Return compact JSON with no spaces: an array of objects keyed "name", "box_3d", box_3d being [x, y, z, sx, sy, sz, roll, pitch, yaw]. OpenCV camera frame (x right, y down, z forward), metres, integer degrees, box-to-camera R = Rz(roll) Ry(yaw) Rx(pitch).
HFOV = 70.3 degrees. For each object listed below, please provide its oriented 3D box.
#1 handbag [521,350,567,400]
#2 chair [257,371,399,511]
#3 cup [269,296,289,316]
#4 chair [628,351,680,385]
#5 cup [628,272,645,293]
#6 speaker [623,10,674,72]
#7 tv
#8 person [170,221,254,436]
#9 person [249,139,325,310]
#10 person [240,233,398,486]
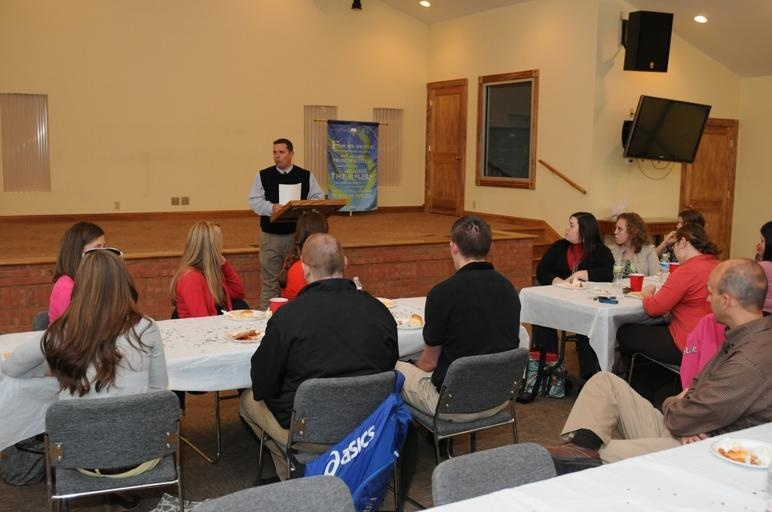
[{"name":"handbag","box_3d":[1.400,1.028,4.750,0.374,0.354,0.337,-11,-1,20]},{"name":"chair","box_3d":[-0.273,0.844,2.998,0.592,0.871,0.675,-3,16,-19]},{"name":"cup","box_3d":[-0.639,0.297,3.267,0.139,0.114,0.132,5,7,-1]},{"name":"chair","box_3d":[2.037,0.848,4.189,0.239,0.260,0.189,0,27,4]},{"name":"cup","box_3d":[2.087,0.220,4.655,0.134,0.154,0.139,1,-5,0]},{"name":"speaker","box_3d":[3.921,-3.212,8.202,0.609,0.865,0.200,2,9,15]},{"name":"tv","box_3d":[4.485,-1.992,8.763,1.334,0.983,0.117,1,25,-16]},{"name":"person","box_3d":[-1.338,0.383,4.083,0.535,1.225,0.520,-7,19,-29]},{"name":"person","box_3d":[-1.158,-0.316,6.364,0.853,2.292,0.713,-7,48,-16]},{"name":"person","box_3d":[-0.390,0.685,3.134,0.823,1.504,0.818,-1,9,-20]}]
